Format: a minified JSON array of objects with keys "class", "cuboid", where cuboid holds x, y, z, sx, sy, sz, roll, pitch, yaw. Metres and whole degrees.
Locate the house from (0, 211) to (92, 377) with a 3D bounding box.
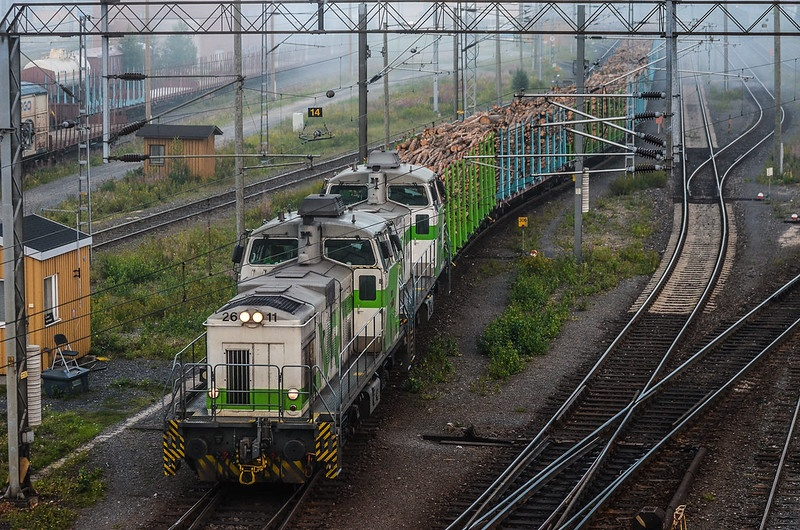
[{"class":"house","cuboid":[-11.632,0.764,37.065,1.512,4.974,3.219,-1,11,10]}]
